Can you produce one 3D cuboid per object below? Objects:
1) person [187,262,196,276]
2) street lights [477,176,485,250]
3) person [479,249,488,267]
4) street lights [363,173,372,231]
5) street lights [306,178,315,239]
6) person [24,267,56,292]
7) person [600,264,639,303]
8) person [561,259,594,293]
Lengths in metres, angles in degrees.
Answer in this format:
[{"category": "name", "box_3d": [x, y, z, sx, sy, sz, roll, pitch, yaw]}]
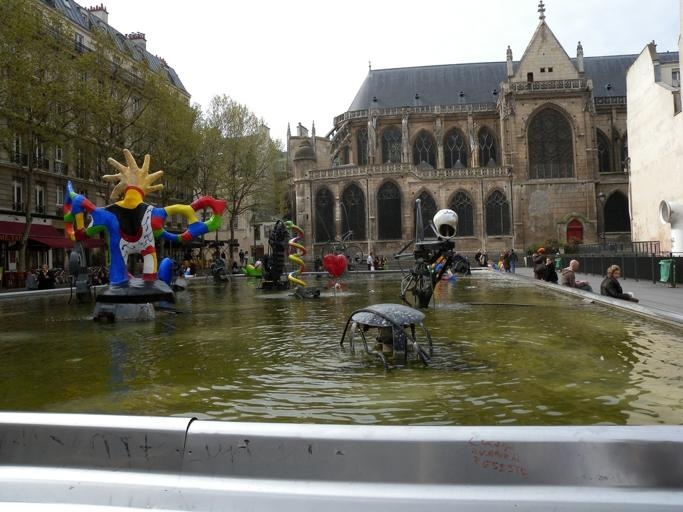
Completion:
[{"category": "person", "box_3d": [-9.812, 0.833, 40.785, 0.386, 0.808, 2.264, 0, -1, -16]}, {"category": "street lights", "box_3d": [12.286, -3.676, 54.140, 0.460, 6.309, 0.869, 0, -1, 14]}, {"category": "person", "box_3d": [10.339, 0.203, 45.282, 0.572, 1.033, 2.238, 0, -1, 13]}, {"category": "street lights", "box_3d": [2.381, -4.093, 53.131, 0.710, 5.317, 0.461, -1, -1, 40]}, {"category": "street lights", "box_3d": [-2.693, -3.933, 54.995, 0.584, 5.499, 0.469, 0, -1, -1]}, {"category": "person", "box_3d": [-12.488, 0.981, 25.551, 1.462, 0.846, 1.102, -3, -4, 38]}, {"category": "person", "box_3d": [6.114, 0.806, 13.691, 0.634, 1.255, 0.545, -8, -13, 20]}, {"category": "person", "box_3d": [6.216, 0.692, 16.488, 0.698, 1.153, 0.563, -5, -3, 6]}]
